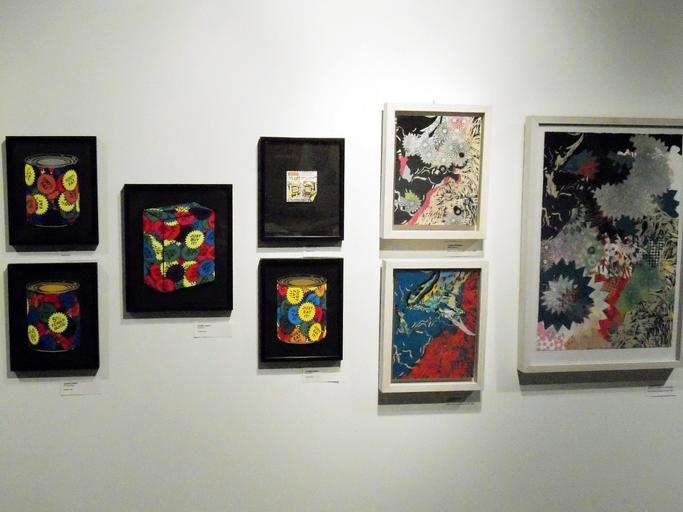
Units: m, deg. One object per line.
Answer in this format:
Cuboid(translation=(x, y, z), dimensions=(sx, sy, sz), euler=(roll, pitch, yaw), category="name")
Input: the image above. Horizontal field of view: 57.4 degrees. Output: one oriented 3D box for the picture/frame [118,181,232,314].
Cuboid(translation=(-0.732, -0.063, 2.686), dimensions=(0.512, 0.675, 0.028), euler=(-1, 7, -6), category="picture/frame")
